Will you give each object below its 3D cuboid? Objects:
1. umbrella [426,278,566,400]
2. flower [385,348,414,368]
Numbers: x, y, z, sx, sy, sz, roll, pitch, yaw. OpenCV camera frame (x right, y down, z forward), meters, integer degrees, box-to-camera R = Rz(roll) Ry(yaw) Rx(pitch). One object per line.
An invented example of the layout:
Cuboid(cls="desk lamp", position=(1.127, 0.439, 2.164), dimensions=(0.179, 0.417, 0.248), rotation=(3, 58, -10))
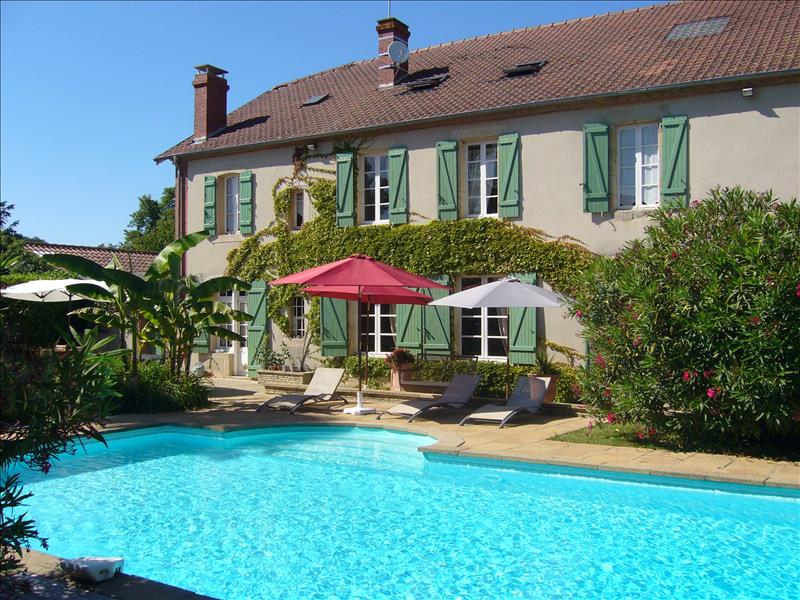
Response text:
Cuboid(cls="umbrella", position=(1.902, 0.580, 14.430), dimensions=(1.969, 1.633, 1.949), rotation=(-1, -1, -3))
Cuboid(cls="flower", position=(-0.002, 1.397, 17.665), dimensions=(0.492, 0.331, 0.487), rotation=(-1, 3, 6))
